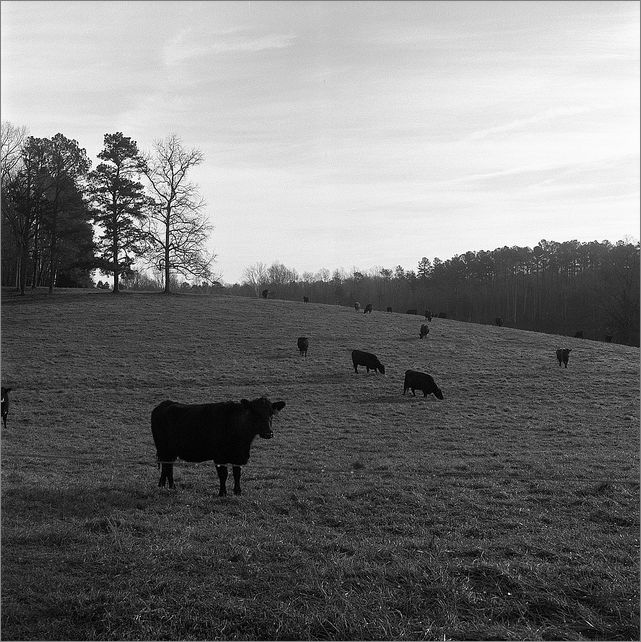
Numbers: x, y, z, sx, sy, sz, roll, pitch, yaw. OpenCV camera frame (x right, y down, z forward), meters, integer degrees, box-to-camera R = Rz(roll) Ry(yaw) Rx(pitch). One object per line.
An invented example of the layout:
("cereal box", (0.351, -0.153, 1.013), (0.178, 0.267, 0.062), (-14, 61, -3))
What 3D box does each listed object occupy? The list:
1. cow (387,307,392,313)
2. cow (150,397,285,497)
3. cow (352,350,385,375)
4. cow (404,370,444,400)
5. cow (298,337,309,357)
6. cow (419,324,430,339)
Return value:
("cow", (6.067, -0.960, 74.492), (0.552, 0.195, 0.562), (9, -11, -30))
("cow", (-2.378, 2.644, 18.447), (2.824, 2.058, 1.036), (2, 3, 20))
("cow", (2.277, 1.925, 40.164), (1.538, 0.993, 2.266), (1, 3, 4))
("cow", (4.150, 2.595, 34.585), (1.249, 0.996, 2.110), (-2, 4, -45))
("cow", (-0.861, 1.293, 43.629), (0.501, 0.914, 1.630), (0, 3, -2))
("cow", (6.453, 0.646, 53.305), (0.540, 0.783, 1.986), (1, 3, 6))
